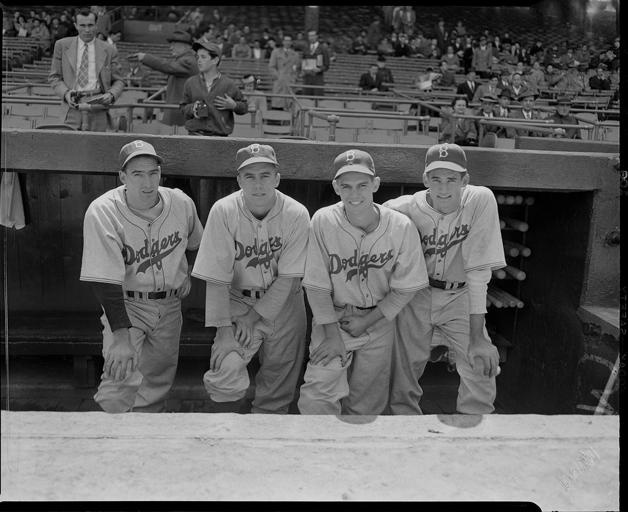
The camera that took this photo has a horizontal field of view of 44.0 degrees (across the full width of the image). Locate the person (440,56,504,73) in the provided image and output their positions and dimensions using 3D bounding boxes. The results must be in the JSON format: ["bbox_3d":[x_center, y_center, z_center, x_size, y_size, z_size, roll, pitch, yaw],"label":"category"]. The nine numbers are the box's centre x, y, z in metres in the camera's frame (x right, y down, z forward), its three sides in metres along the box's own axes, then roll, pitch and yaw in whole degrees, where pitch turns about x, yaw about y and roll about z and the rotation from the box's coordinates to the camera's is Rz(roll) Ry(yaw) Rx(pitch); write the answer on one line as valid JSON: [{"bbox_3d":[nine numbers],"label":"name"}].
[{"bbox_3d":[2.223,-2.732,10.968,0.766,0.397,0.470,-1,15,-1],"label":"person"}]

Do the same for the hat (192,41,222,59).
[{"bbox_3d":[-1.030,-2.023,7.510,0.256,0.188,0.365,-2,10,-8],"label":"hat"}]

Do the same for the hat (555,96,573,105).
[{"bbox_3d":[2.958,-1.869,9.226,0.234,0.082,0.233,1,19,7],"label":"hat"}]

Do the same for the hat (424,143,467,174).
[{"bbox_3d":[0.952,-0.719,5.652,0.283,0.213,0.233,1,10,8],"label":"hat"}]

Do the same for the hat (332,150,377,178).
[{"bbox_3d":[0.295,-0.686,5.589,0.197,0.136,0.260,0,1,11],"label":"hat"}]

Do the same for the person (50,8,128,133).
[{"bbox_3d":[-2.079,-1.728,7.162,0.686,1.120,0.617,-3,10,-15],"label":"person"}]

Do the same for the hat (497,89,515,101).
[{"bbox_3d":[2.228,-1.910,9.036,0.160,0.066,0.179,11,-6,2],"label":"hat"}]

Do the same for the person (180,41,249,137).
[{"bbox_3d":[-0.959,-1.628,7.490,0.553,0.909,0.614,-9,13,-41],"label":"person"}]

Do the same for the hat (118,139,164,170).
[{"bbox_3d":[-1.267,-0.754,5.737,0.294,0.214,0.200,-2,10,-11],"label":"hat"}]

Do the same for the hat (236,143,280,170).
[{"bbox_3d":[-0.414,-0.755,5.794,0.337,0.185,0.461,-3,6,-6],"label":"hat"}]

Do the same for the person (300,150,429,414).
[{"bbox_3d":[0.323,0.224,5.731,0.937,2.004,0.398,-4,10,-20],"label":"person"}]

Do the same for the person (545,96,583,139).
[{"bbox_3d":[2.912,-1.644,9.062,0.373,0.477,1.258,3,10,19],"label":"person"}]

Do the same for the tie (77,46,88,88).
[{"bbox_3d":[-2.121,-1.770,7.191,0.116,0.367,0.065,-3,10,-15],"label":"tie"}]
